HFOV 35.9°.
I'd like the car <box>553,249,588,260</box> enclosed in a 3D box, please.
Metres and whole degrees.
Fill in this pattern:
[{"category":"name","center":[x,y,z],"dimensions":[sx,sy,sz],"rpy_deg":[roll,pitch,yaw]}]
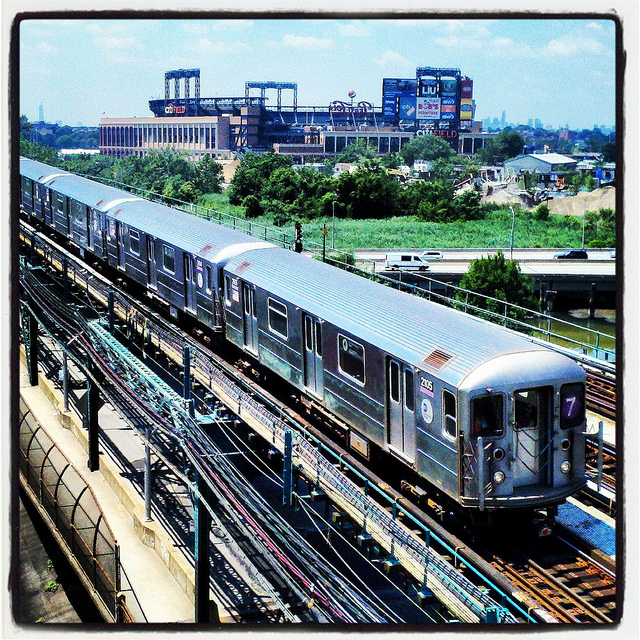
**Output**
[{"category":"car","center":[16.764,-4.249,65.262],"dimensions":[1.612,0.715,0.821],"rpy_deg":[3,6,9]}]

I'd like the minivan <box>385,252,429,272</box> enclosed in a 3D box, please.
[{"category":"minivan","center":[5.119,-3.309,57.757],"dimensions":[2.311,1.268,1.483],"rpy_deg":[-3,16,-5]}]
